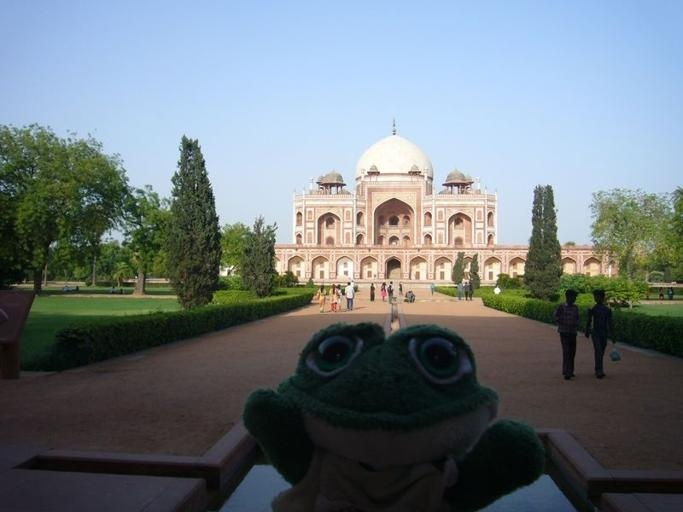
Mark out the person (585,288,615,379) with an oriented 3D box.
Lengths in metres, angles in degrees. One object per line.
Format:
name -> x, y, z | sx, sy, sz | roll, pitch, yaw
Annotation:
person -> 4.178, 1.214, 8.972 | 0.378, 1.354, 1.034 | 1, -1, 25

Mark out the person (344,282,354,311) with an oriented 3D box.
person -> 0.344, 1.635, 21.934 | 0.245, 0.728, 0.829 | 2, 0, 0

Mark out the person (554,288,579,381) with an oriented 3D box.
person -> 3.509, 1.203, 8.634 | 0.321, 1.363, 0.349 | 2, -1, 0
